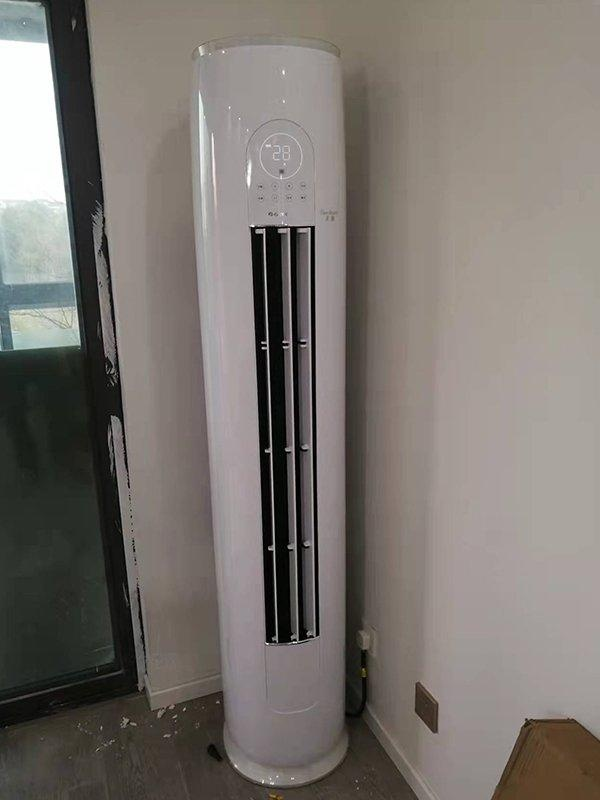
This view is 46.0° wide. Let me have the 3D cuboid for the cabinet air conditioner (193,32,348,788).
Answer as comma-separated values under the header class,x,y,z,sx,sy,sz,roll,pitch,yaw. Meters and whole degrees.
class,x,y,z,sx,sy,sz,roll,pitch,yaw
cabinet air conditioner,-0.057,0.115,1.631,0.324,1.703,0.281,0,9,4
